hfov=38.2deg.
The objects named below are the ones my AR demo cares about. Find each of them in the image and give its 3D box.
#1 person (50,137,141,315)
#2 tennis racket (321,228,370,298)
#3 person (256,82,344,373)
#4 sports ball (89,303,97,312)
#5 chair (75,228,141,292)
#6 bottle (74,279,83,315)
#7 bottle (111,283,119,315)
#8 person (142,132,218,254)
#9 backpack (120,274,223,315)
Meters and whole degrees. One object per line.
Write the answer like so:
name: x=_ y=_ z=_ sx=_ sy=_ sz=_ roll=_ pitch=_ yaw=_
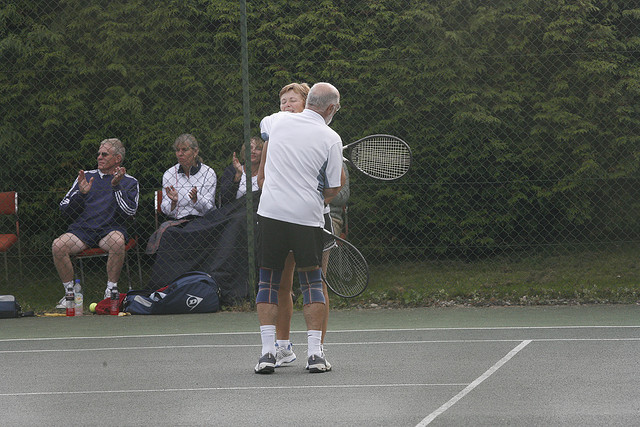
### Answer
person: x=-3.016 y=0.157 z=12.402 sx=1.133 sy=2.253 sz=0.810 roll=-3 pitch=8 yaw=-14
tennis racket: x=0.246 y=0.570 z=9.630 sx=0.236 sy=0.645 sz=0.592 roll=-9 pitch=11 yaw=-43
person: x=-0.207 y=0.140 z=9.226 sx=0.910 sy=2.849 sz=0.646 roll=-1 pitch=8 yaw=1
sports ball: x=-3.059 y=1.251 z=12.333 sx=0.115 sy=0.100 sz=0.096 roll=4 pitch=-5 yaw=-33
chair: x=-2.982 y=0.702 z=13.033 sx=0.829 sy=1.282 sz=0.639 roll=0 pitch=-2 yaw=-15
bottle: x=-3.212 y=1.096 z=12.190 sx=0.098 sy=0.488 sz=0.275 roll=-3 pitch=8 yaw=-15
bottle: x=-2.720 y=1.121 z=12.192 sx=0.107 sy=0.392 sz=0.173 roll=-1 pitch=8 yaw=4
person: x=-1.872 y=-0.280 z=12.490 sx=0.914 sy=1.544 sz=0.793 roll=-2 pitch=8 yaw=-7
backpack: x=-1.897 y=1.068 z=12.025 sx=0.943 sy=0.364 sz=0.593 roll=-2 pitch=-6 yaw=-2
